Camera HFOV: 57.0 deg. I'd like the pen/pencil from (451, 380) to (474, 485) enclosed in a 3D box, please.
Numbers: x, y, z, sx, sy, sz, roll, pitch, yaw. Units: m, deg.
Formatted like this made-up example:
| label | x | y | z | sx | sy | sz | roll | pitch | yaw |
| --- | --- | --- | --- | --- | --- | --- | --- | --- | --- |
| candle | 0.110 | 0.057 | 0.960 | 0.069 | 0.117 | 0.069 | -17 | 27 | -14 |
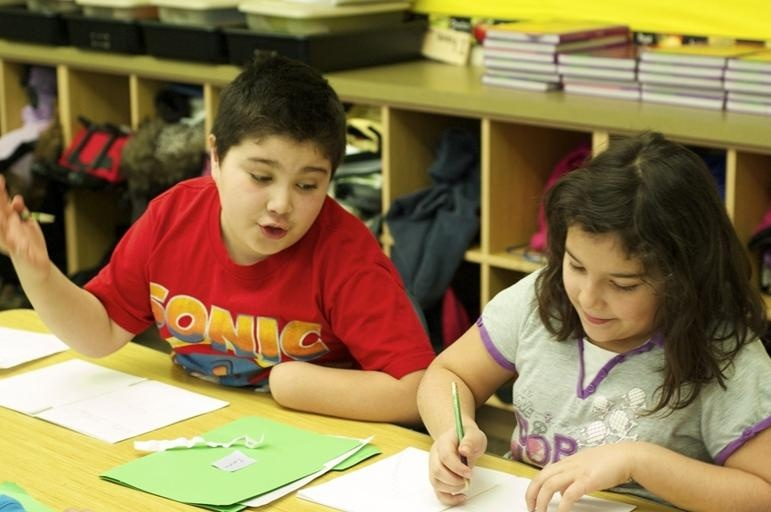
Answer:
| label | x | y | z | sx | sy | sz | roll | pitch | yaw |
| --- | --- | --- | --- | --- | --- | --- | --- | --- | --- |
| pen/pencil | 0.131 | 0.292 | 1.247 | 0.018 | 0.213 | 0.016 | -2 | -10 | -23 |
